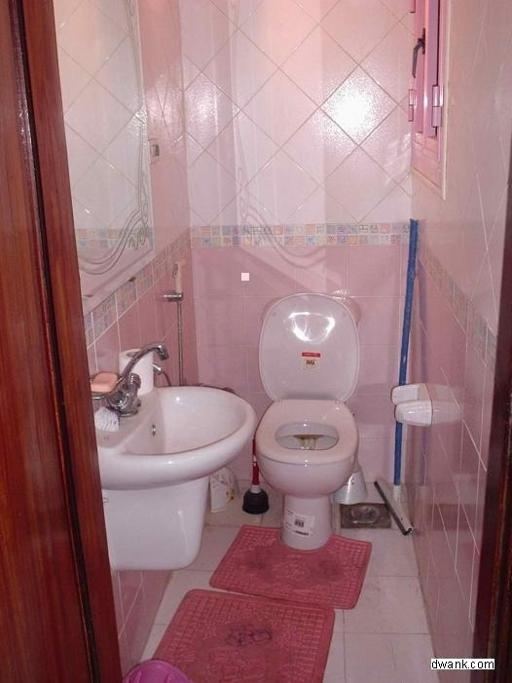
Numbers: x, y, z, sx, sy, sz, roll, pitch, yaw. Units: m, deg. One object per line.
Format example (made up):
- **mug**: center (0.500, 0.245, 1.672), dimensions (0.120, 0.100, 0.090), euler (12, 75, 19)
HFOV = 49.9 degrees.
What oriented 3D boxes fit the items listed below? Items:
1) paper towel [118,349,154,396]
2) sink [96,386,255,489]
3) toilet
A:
- **paper towel**: center (-0.312, 0.073, 1.499), dimensions (0.104, 0.135, 0.110), euler (-8, 29, -22)
- **sink**: center (-0.195, 0.242, 1.429), dimensions (0.374, 0.138, 0.561), euler (1, 11, -2)
- **toilet**: center (0.214, 0.332, 2.260), dimensions (0.427, 0.993, 0.548), euler (0, 14, 4)
